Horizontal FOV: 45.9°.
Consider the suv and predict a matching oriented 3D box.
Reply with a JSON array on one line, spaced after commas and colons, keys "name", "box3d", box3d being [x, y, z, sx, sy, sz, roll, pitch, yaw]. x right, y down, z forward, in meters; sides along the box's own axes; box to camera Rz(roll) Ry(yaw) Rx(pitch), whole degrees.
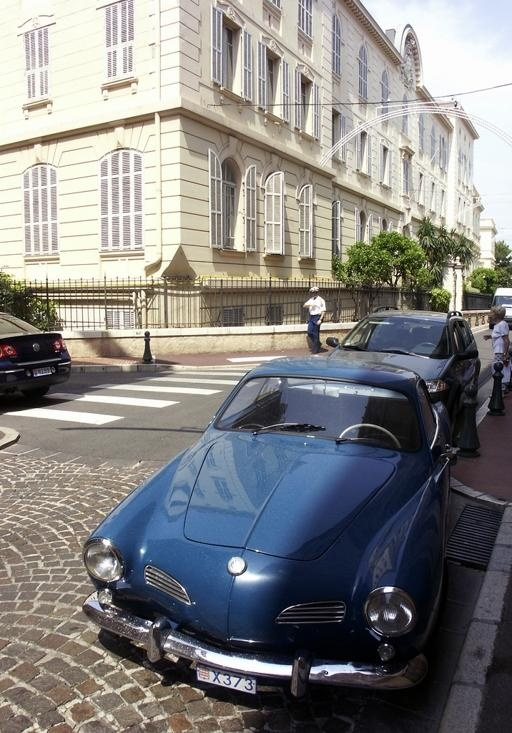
[{"name": "suv", "box3d": [2.095, -0.020, 7.919, 1.294, 1.133, 2.242, 2, 1, 31]}]

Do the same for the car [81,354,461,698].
[{"name": "car", "box3d": [0.370, 0.525, 3.146, 1.027, 0.773, 2.252, 5, 11, 22]}]

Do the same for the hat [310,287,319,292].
[{"name": "hat", "box3d": [1.687, -2.212, 17.649, 0.185, 0.157, 0.501, 0, 5, -1]}]
